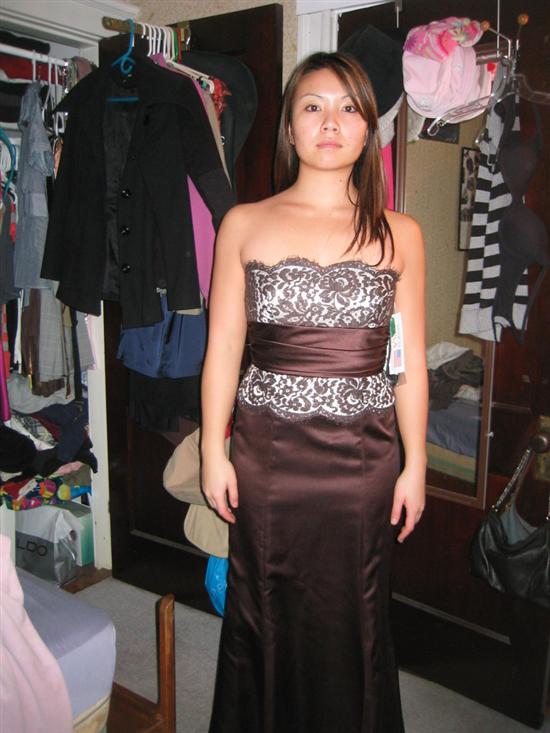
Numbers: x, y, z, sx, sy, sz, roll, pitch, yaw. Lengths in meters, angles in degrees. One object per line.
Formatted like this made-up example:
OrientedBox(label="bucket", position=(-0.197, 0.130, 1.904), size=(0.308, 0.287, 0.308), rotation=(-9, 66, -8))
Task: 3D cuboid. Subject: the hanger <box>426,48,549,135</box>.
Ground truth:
OrientedBox(label="hanger", position=(0.539, -0.692, 1.537), size=(0.157, 0.115, 0.231), rotation=(2, -16, 11))
